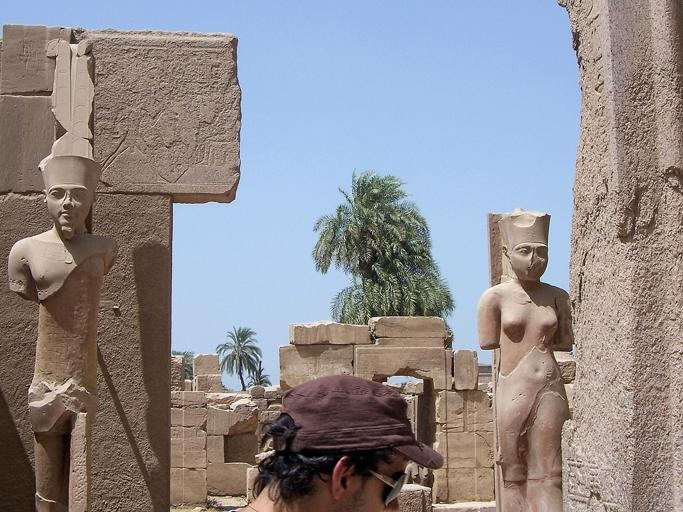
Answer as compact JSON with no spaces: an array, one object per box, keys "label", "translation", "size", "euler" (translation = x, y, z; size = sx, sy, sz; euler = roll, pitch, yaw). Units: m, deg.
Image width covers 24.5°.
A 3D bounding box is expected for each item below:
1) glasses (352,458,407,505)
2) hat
[{"label":"glasses","translation":[0.197,1.109,7.862],"size":[0.195,0.067,0.194],"euler":[18,-16,26]},{"label":"hat","translation":[0.098,0.837,8.034],"size":[0.867,0.470,0.566],"euler":[-3,1,1]}]
